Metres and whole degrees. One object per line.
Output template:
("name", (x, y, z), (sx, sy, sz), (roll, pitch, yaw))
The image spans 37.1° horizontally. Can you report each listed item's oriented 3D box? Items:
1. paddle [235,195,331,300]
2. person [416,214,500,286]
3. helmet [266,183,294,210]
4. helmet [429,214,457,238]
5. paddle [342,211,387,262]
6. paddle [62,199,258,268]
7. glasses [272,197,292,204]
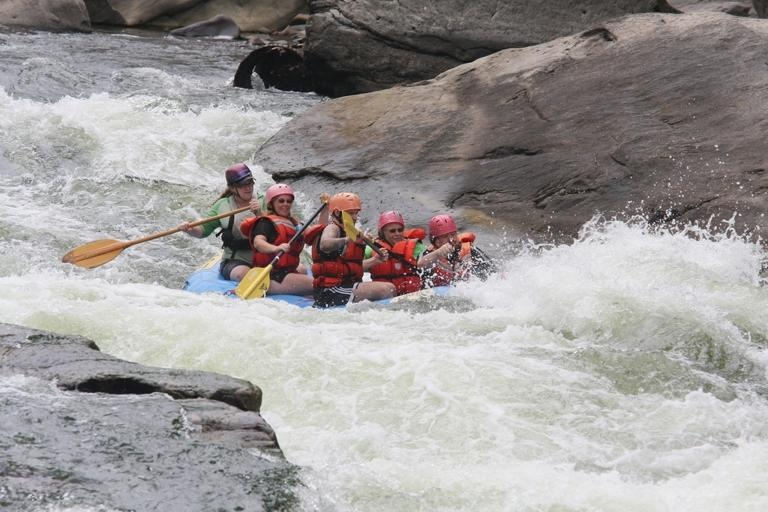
("paddle", (-1.324, -0.074, 14.550), (2.219, 0.089, 0.428), (-31, 74, -40))
("person", (0.952, -0.010, 14.250), (0.965, 0.931, 0.576), (11, 31, 6))
("helmet", (-1.383, -0.769, 14.708), (0.363, 0.290, 0.288), (4, -8, -13))
("helmet", (0.708, -0.366, 14.258), (0.282, 0.288, 0.314), (-8, 31, -25))
("paddle", (-0.310, -0.268, 14.132), (0.215, 0.902, 0.273), (-22, 59, 20))
("paddle", (-3.084, -0.276, 15.643), (3.475, 0.333, 0.228), (-13, 23, -12))
("glasses", (-1.278, -0.719, 14.626), (0.167, 0.029, 0.111), (-8, -13, 34))
